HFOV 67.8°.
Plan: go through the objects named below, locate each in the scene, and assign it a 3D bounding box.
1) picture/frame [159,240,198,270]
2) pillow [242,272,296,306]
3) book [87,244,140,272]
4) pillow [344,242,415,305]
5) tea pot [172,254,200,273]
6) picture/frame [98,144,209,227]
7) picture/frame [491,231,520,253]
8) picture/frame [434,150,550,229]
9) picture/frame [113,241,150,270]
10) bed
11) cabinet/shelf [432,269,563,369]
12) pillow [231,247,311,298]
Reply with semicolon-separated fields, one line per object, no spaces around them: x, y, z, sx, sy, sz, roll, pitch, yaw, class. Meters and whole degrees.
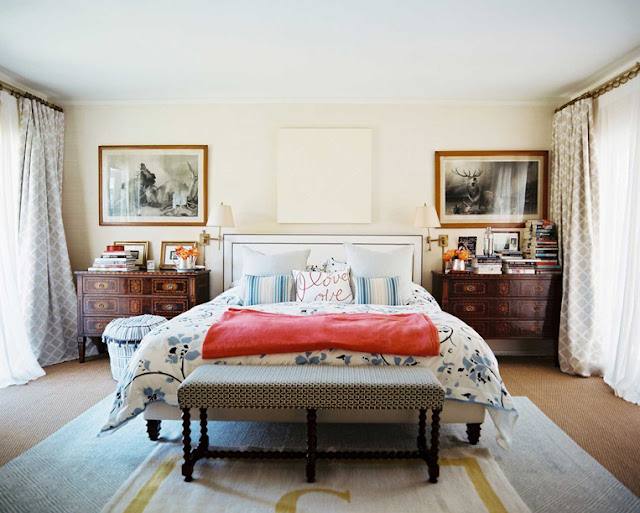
-1.547;-0.008;5.249;0.424;0.286;0.028;0;2;2;picture/frame
-0.468;0.317;4.408;0.373;0.204;0.115;-1;-23;-3;pillow
-2.184;0.030;5.195;0.403;0.194;0.356;1;1;3;book
0.560;0.182;4.532;0.717;0.565;0.226;2;-32;-3;pillow
-1.432;0.091;5.172;0.293;0.227;0.164;1;3;-6;tea pot
-1.847;-0.829;5.337;1.185;0.668;0.040;0;0;-1;picture/frame
2.069;-0.169;5.281;0.303;0.203;0.022;-1;-1;-2;picture/frame
1.894;-0.736;5.314;1.468;0.832;0.035;-3;7;-17;picture/frame
-2.081;-0.005;5.232;0.404;0.273;0.029;0;2;-4;picture/frame
-0.176;0.580;4.227;2.170;0.839;2.190;0;3;3;bed
1.710;0.552;4.546;1.266;0.841;0.442;0;2;0;cabinet/shelf
-0.442;0.162;4.637;0.590;0.346;0.182;-1;-11;4;pillow
